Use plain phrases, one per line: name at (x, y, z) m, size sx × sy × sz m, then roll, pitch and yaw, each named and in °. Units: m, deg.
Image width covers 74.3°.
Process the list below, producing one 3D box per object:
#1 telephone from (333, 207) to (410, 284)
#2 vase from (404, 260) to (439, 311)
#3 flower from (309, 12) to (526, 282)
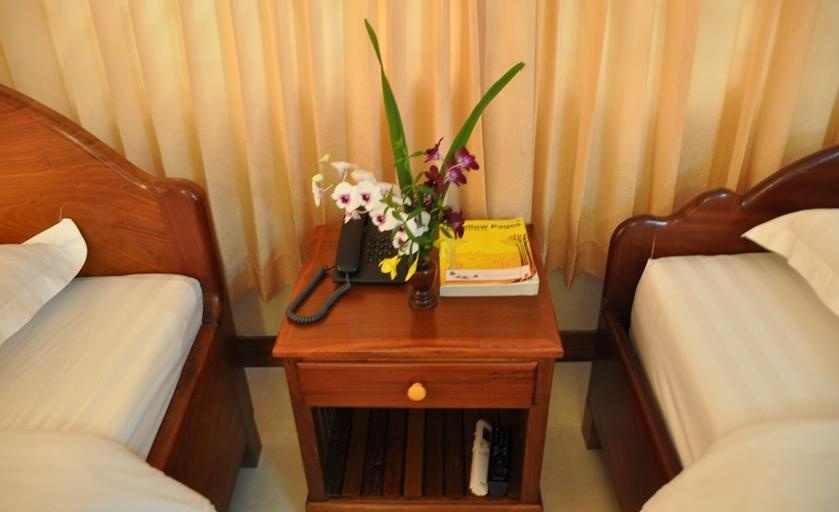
telephone at (-0.191, -0.014, 1.814) m, size 0.198 × 0.241 × 0.096 m, roll -3°, pitch -14°, yaw -2°
vase at (0.006, 0.066, 1.768) m, size 0.129 × 0.166 × 0.129 m, roll -1°, pitch 15°, yaw -3°
flower at (-0.004, -0.305, 1.739) m, size 0.545 × 0.793 × 0.550 m, roll 1°, pitch 28°, yaw 8°
